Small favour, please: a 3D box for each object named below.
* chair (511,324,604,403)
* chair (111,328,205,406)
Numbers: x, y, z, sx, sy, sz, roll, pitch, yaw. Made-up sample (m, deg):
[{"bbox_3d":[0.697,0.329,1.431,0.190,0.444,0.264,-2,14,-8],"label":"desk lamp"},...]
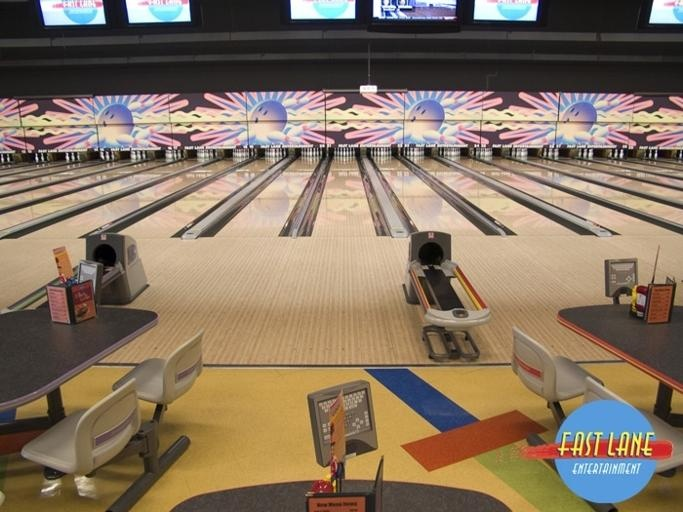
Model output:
[{"bbox_3d":[1.158,0.578,2.265,0.427,0.421,0.341,-9,19,-14],"label":"chair"},{"bbox_3d":[-1.078,0.662,2.414,0.367,0.422,0.367,20,21,10],"label":"chair"}]
